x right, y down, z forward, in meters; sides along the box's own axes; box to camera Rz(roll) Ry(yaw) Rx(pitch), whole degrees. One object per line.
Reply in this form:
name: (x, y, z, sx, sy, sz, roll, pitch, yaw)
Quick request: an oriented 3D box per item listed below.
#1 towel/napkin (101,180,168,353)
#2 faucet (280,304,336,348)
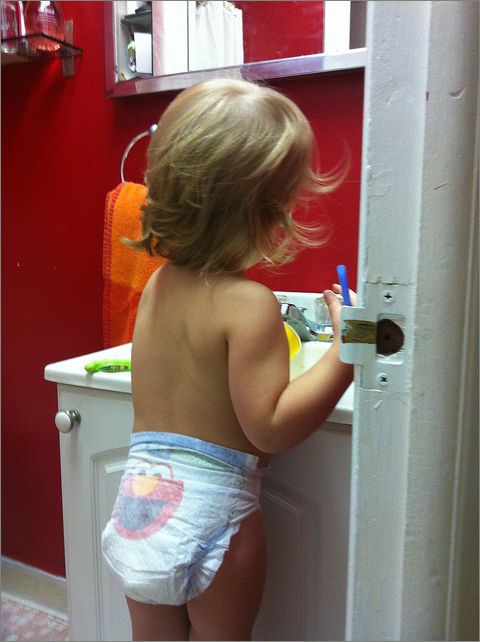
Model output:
towel/napkin: (-0.230, -0.110, 1.253, 0.090, 0.292, 0.284, -7, 26, -14)
faucet: (0.106, 0.013, 1.086, 0.156, 0.052, 0.044, -2, 12, -39)
